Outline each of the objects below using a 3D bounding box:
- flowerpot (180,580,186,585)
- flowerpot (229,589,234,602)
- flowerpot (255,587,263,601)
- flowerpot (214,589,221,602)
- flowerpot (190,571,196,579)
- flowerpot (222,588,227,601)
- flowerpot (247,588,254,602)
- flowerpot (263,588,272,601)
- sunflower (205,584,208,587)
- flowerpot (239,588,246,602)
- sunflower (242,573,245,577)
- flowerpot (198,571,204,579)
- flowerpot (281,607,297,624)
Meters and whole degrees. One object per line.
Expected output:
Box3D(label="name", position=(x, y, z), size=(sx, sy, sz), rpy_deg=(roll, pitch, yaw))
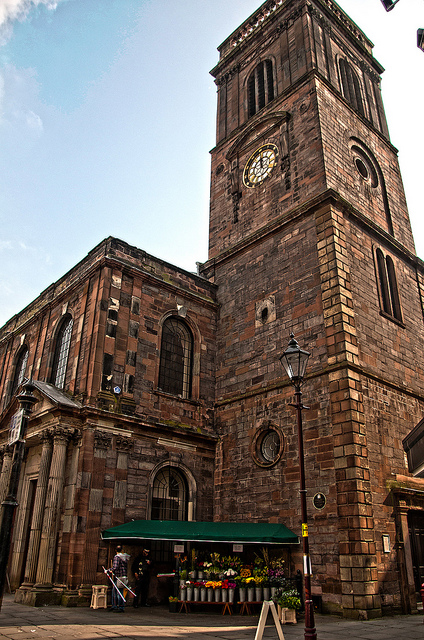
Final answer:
Box3D(label="flowerpot", position=(-0.839, 7.710, 14.361), size=(0.256, 0.119, 0.125), rpy_deg=(-20, -34, 38))
Box3D(label="flowerpot", position=(0.552, 7.793, 13.814), size=(0.069, 0.310, 0.156), rpy_deg=(-17, -32, 36))
Box3D(label="flowerpot", position=(1.329, 7.855, 13.980), size=(0.249, 0.392, 0.254), rpy_deg=(0, -28, 1))
Box3D(label="flowerpot", position=(0.153, 7.813, 13.846), size=(0.178, 0.317, 0.083), rpy_deg=(1, -25, 3))
Box3D(label="flowerpot", position=(-0.560, 7.547, 14.432), size=(0.163, 0.186, 0.167), rpy_deg=(5, -25, -8))
Box3D(label="flowerpot", position=(0.342, 7.770, 13.802), size=(0.130, 0.282, 0.061), rpy_deg=(2, -25, 2))
Box3D(label="flowerpot", position=(1.107, 7.857, 13.957), size=(0.194, 0.348, 0.088), rpy_deg=(6, -25, -7))
Box3D(label="flowerpot", position=(1.572, 7.770, 13.862), size=(0.213, 0.281, 0.272), rpy_deg=(3, -26, -1))
Box3D(label="sunflower", position=(-0.166, 7.606, 13.987), size=(0.028, 0.068, 0.121), rpy_deg=(22, -32, -35))
Box3D(label="flowerpot", position=(0.872, 7.865, 13.968), size=(0.180, 0.346, 0.110), rpy_deg=(1, -25, 3))
Box3D(label="sunflower", position=(0.912, 7.455, 14.281), size=(0.073, 0.099, 0.042), rpy_deg=(1, -25, 3))
Box3D(label="flowerpot", position=(-0.319, 7.539, 14.446), size=(0.174, 0.201, 0.179), rpy_deg=(0, -29, -1))
Box3D(label="flowerpot", position=(1.926, 7.495, 12.403), size=(0.365, 0.368, 0.369), rpy_deg=(3, -29, -6))
